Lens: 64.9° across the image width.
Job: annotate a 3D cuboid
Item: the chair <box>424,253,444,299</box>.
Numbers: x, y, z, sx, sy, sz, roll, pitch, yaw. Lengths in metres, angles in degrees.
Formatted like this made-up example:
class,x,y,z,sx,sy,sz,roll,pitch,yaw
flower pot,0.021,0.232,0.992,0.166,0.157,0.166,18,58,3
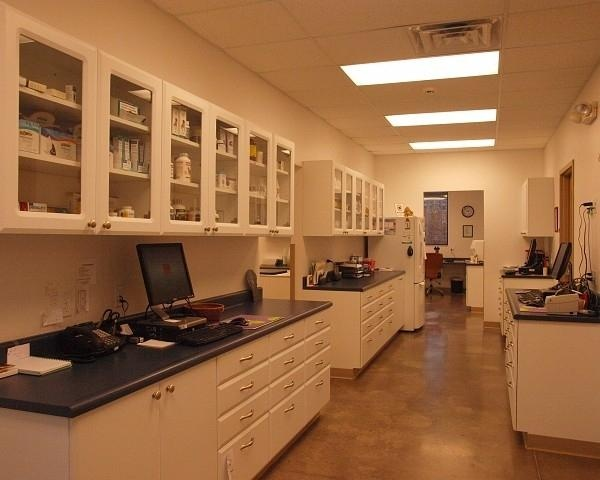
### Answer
class,x,y,z,sx,sy,sz,roll,pitch,yaw
chair,3.121,0.778,11.100,0.530,0.986,0.594,4,3,39

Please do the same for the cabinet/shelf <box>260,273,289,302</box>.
class,x,y,z,sx,sy,sz,roll,pitch,yaw
cabinet/shelf,-0.285,0.515,5.394,0.331,0.294,0.153,0,3,-2

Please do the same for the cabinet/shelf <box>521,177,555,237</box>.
class,x,y,z,sx,sy,sz,roll,pitch,yaw
cabinet/shelf,3.530,-0.487,6.951,0.325,0.816,0.893,0,1,17

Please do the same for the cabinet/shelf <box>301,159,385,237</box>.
class,x,y,z,sx,sy,sz,roll,pitch,yaw
cabinet/shelf,0.605,-0.504,6.140,0.409,0.897,1.748,1,3,30

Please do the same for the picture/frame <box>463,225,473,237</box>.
class,x,y,z,sx,sy,sz,roll,pitch,yaw
picture/frame,4.354,-0.244,12.152,0.265,0.340,0.033,2,7,23

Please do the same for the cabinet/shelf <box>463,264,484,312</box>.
class,x,y,z,sx,sy,sz,roll,pitch,yaw
cabinet/shelf,3.228,0.865,8.696,0.282,0.864,0.267,1,3,18

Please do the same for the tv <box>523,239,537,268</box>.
class,x,y,z,sx,sy,sz,roll,pitch,yaw
tv,3.358,0.189,6.844,0.128,0.394,0.477,1,3,29

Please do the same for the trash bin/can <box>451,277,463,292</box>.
class,x,y,z,sx,sy,sz,roll,pitch,yaw
trash bin/can,3.859,1.112,11.624,0.338,0.369,0.281,1,4,18

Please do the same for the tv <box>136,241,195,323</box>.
class,x,y,z,sx,sy,sz,roll,pitch,yaw
tv,-0.865,0.274,2.969,0.188,0.458,0.433,-22,-8,15

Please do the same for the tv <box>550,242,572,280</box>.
class,x,y,z,sx,sy,sz,roll,pitch,yaw
tv,2.856,0.228,5.131,0.057,0.389,0.500,17,4,15

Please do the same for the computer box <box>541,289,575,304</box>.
class,x,y,z,sx,sy,sz,roll,pitch,yaw
computer box,1.991,0.434,3.584,0.161,0.109,0.165,-3,-1,37
